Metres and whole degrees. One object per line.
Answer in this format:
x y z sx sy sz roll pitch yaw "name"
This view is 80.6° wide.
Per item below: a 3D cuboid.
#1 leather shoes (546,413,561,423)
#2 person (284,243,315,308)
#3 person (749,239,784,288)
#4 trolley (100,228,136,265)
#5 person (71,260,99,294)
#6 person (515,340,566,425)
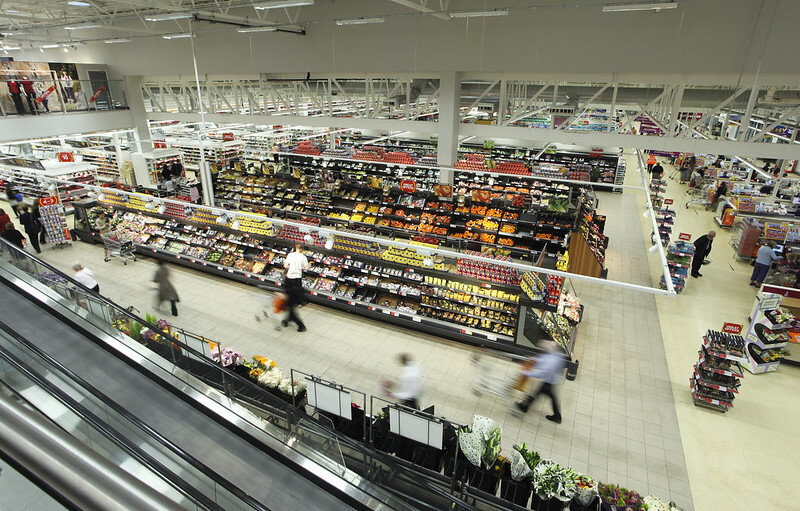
3.363 3.604 10.354 0.278 0.174 0.098 19 47 24 "leather shoes"
-2.765 0.712 12.443 0.529 1.455 0.821 3 22 4 "person"
11.120 0.311 14.398 0.551 1.504 0.710 17 27 35 "person"
-9.124 -0.311 15.660 1.564 0.999 0.731 10 20 23 "trolley"
-8.115 0.622 12.216 0.389 0.757 0.850 -15 26 -35 "person"
3.162 2.917 10.514 1.124 1.702 0.795 24 47 38 "person"
